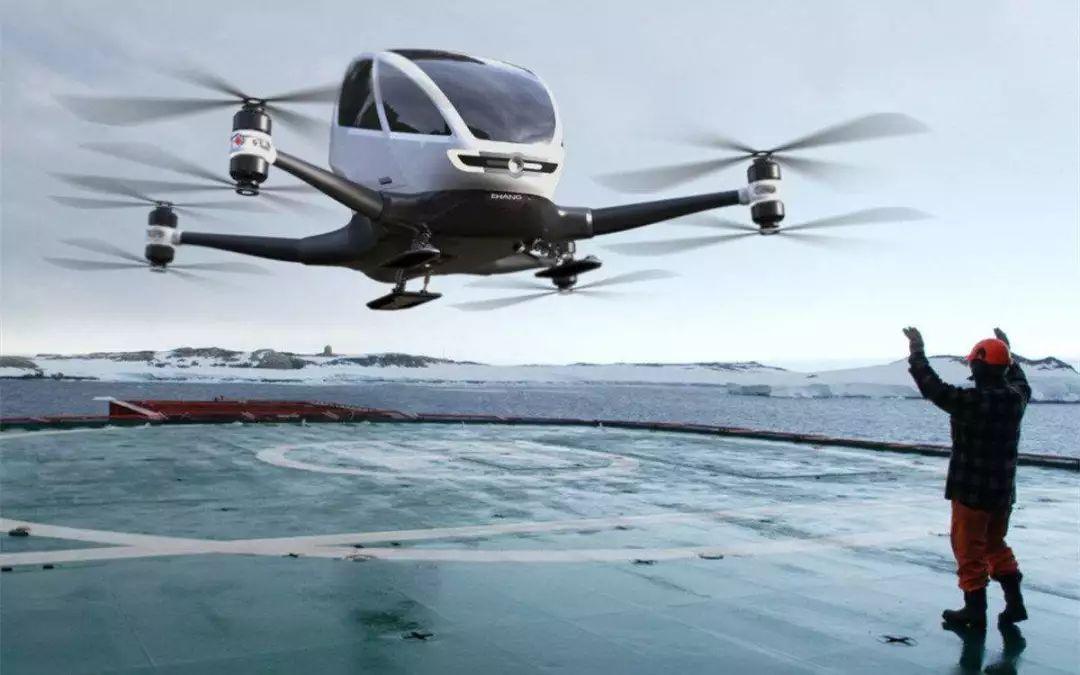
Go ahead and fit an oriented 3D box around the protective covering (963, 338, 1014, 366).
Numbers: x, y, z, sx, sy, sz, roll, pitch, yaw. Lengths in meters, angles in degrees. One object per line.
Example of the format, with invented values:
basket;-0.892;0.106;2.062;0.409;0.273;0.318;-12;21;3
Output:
protective covering;6.061;0.223;9.035;0.519;0.292;0.637;-1;9;-29

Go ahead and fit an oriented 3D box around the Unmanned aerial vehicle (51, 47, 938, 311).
Unmanned aerial vehicle;-2.025;-3.745;16.902;19.189;6.223;7.313;1;-1;-5

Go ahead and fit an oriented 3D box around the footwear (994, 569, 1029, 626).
footwear;6.808;3.775;9.695;0.392;0.782;0.279;1;-1;14

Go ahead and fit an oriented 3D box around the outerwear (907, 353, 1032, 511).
outerwear;6.291;1.368;9.773;1.978;2.282;0.772;2;-1;-30
